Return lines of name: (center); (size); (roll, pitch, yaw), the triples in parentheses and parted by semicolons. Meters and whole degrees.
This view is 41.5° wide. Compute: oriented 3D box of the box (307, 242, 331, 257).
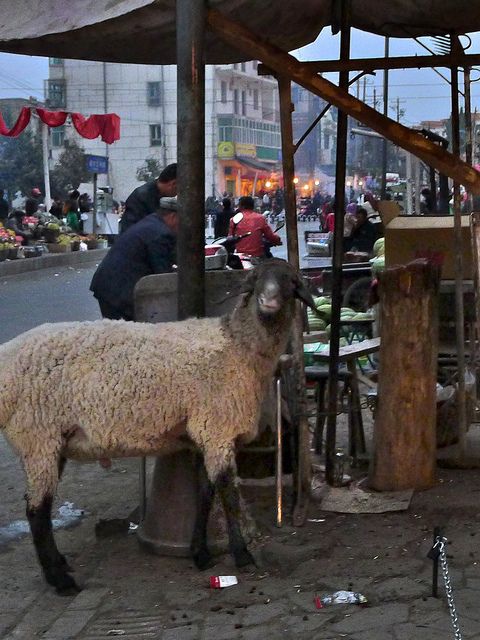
box: (2.403, -2.102, 19.259); (0.565, 0.316, 0.542); (-1, 6, 6)

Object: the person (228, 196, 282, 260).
person: (0.265, -1.639, 11.775); (1.094, 0.927, 1.689); (-2, -3, 2)

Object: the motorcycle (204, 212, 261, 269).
motorcycle: (-0.252, -1.084, 8.999); (0.776, 0.800, 1.284); (-6, 12, -10)

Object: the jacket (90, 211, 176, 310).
jacket: (-0.727, -0.409, 4.373); (0.485, 0.670, 0.443); (-5, 25, -41)

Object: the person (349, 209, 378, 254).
person: (2.308, -1.634, 11.866); (0.543, 0.850, 0.607); (-10, -1, 13)

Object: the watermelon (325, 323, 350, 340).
watermelon: (0.923, 0.109, 6.031); (0.174, 0.214, 0.176); (1, -18, -4)
